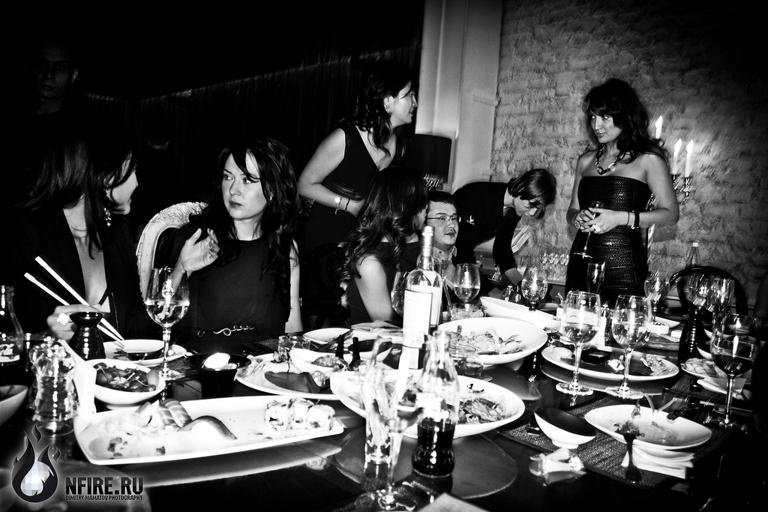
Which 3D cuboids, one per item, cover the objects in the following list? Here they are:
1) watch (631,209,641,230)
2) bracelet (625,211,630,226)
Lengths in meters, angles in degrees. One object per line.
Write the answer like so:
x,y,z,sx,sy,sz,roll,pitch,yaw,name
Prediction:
1.611,-0.234,3.590,0.030,0.092,0.098,10,-10,-5,watch
1.534,-0.232,3.566,0.033,0.077,0.027,4,-1,-2,bracelet
